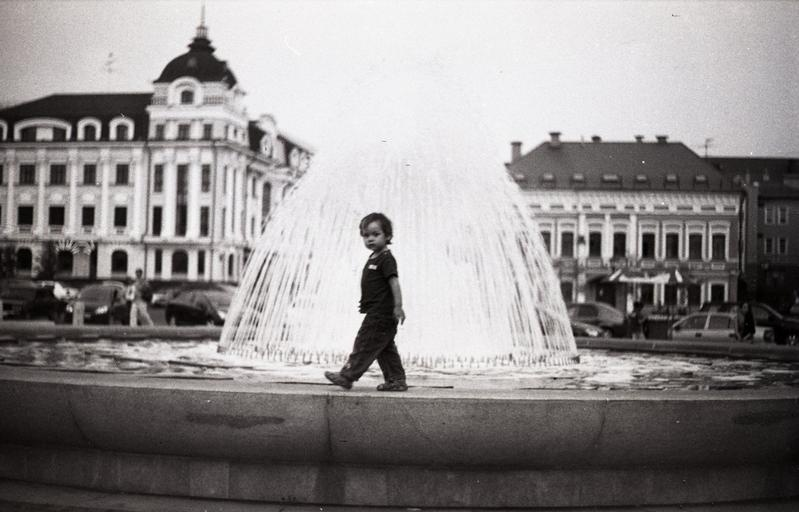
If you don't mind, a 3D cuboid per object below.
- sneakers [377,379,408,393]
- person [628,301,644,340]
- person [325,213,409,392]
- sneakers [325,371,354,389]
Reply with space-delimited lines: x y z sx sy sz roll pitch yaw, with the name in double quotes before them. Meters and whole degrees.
"sneakers" -0.064 1.422 12.554 0.302 0.135 0.124 4 -6 4
"person" 5.303 1.453 25.536 0.225 0.794 0.189 16 -20 -24
"person" -0.264 0.514 12.734 0.777 2.186 0.949 2 -30 1
"sneakers" -0.654 1.351 12.512 0.264 0.098 0.163 19 -23 4
